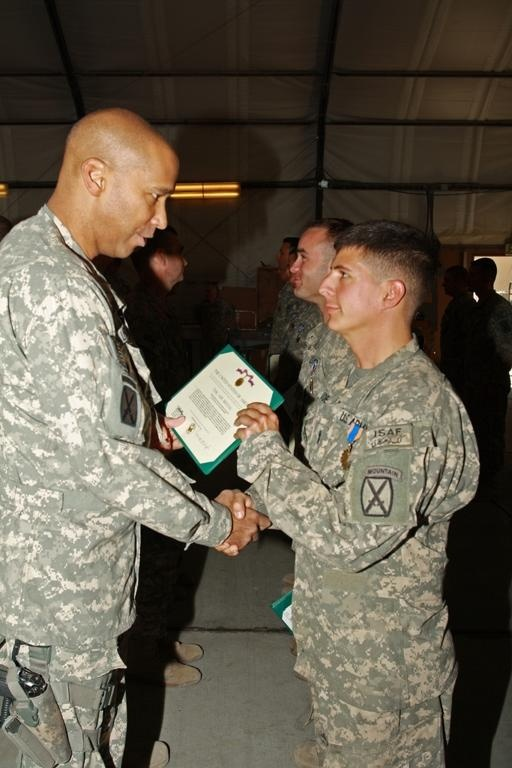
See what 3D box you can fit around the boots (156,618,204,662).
[{"bbox_3d":[-0.378,1.191,3.115,0.308,0.123,0.263,-4,-42,-9],"label":"boots"}]
